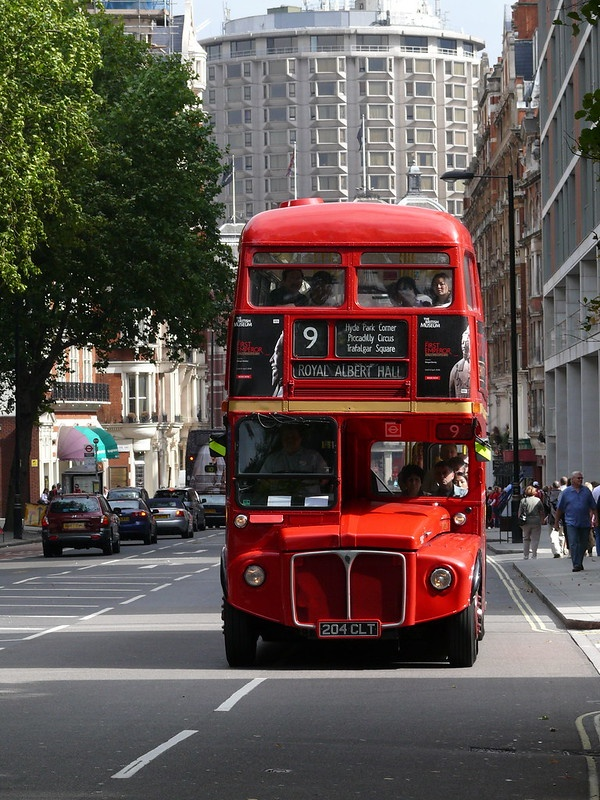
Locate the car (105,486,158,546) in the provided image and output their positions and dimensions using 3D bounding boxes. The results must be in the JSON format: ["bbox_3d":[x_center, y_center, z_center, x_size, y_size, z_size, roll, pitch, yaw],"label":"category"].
[{"bbox_3d":[-5.504,4.075,43.803,1.060,1.081,2.647,-1,-12,2],"label":"car"}]

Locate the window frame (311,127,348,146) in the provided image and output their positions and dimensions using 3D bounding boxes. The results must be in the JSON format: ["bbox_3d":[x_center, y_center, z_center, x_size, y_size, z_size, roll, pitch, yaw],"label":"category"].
[{"bbox_3d":[3.659,-35.069,175.005,4.087,2.799,2.322,1,-6,-2],"label":"window frame"}]

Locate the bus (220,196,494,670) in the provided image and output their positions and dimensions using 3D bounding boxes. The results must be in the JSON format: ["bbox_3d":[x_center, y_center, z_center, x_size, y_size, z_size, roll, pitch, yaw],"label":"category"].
[{"bbox_3d":[0.637,0.082,15.582,2.435,4.416,8.193,1,3,3],"label":"bus"}]

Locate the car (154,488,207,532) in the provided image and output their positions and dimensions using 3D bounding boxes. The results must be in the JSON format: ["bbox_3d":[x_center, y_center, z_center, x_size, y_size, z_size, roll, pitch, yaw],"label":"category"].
[{"bbox_3d":[-5.009,4.463,54.296,1.272,1.387,2.713,0,1,6],"label":"car"}]

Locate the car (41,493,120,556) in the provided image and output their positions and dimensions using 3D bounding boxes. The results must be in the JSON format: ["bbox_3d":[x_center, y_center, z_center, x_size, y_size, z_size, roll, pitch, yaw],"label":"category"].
[{"bbox_3d":[-5.872,3.345,35.528,1.133,1.118,2.467,-1,2,1],"label":"car"}]

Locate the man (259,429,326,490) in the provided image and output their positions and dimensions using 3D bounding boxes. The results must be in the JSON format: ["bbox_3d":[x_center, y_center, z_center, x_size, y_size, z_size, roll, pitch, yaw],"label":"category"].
[{"bbox_3d":[-0.057,0.514,11.987,0.656,0.634,0.368,0,12,7],"label":"man"}]

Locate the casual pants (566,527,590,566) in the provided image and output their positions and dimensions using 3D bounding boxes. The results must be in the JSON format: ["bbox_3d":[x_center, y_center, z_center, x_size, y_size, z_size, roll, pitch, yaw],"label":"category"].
[{"bbox_3d":[5.225,2.786,24.407,0.420,0.868,0.999,0,-3,13],"label":"casual pants"}]

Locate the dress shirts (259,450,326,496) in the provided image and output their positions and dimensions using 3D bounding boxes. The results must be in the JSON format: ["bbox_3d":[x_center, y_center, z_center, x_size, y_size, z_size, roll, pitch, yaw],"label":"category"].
[{"bbox_3d":[-0.040,0.668,11.922,0.622,0.421,0.070,0,-3,12],"label":"dress shirts"}]

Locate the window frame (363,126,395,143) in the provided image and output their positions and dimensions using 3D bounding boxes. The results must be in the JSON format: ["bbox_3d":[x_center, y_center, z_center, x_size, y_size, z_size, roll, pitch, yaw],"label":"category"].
[{"bbox_3d":[10.738,-35.139,174.999,3.915,3.057,2.180,1,-9,-6],"label":"window frame"}]
